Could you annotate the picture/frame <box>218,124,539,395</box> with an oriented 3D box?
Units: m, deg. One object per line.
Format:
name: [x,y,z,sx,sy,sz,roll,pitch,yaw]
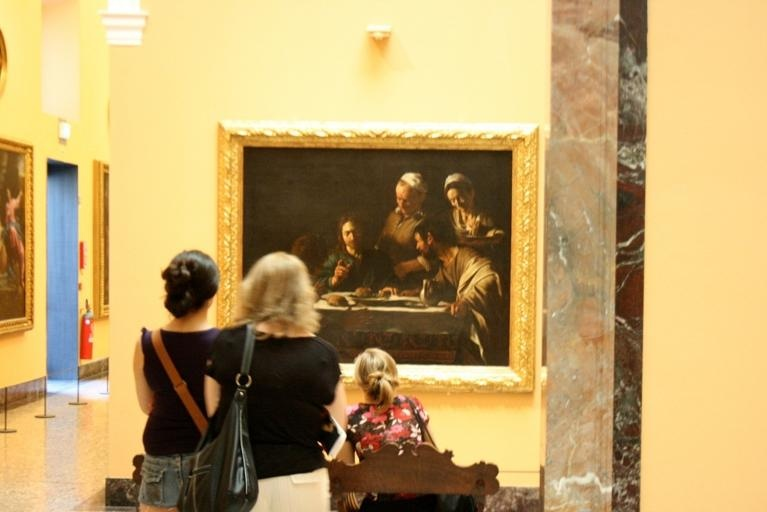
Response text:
picture/frame: [0.089,0.059,10.117,2.220,2.297,0.184,0,1,3]
